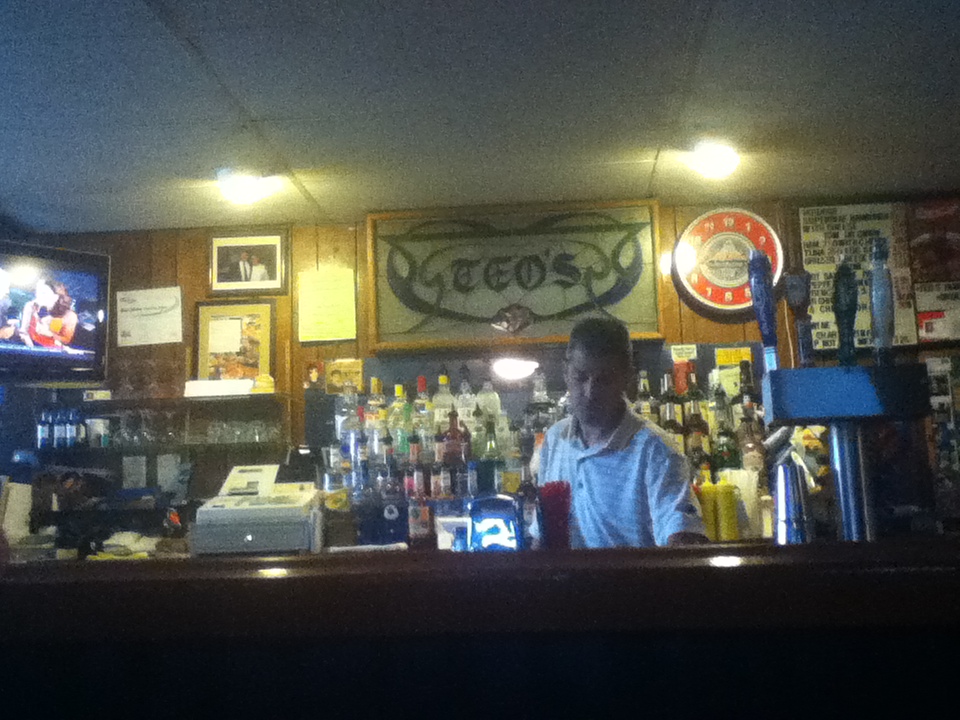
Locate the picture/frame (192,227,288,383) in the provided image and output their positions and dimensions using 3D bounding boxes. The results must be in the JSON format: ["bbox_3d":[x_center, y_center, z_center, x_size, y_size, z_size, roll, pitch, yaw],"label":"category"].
[{"bbox_3d":[-1.415,-0.311,5.038,0.525,0.913,0.208,-2,-5,12],"label":"picture/frame"}]

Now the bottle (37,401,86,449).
[{"bbox_3d":[-2.364,0.364,4.834,0.245,0.247,0.259,-9,-9,42],"label":"bottle"}]

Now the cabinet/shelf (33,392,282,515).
[{"bbox_3d":[-1.816,0.470,5.081,1.309,0.609,0.305,-1,15,-20],"label":"cabinet/shelf"}]

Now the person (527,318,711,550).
[{"bbox_3d":[0.572,0.294,3.492,0.379,0.941,1.005,2,-5,-25],"label":"person"}]

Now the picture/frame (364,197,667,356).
[{"bbox_3d":[0.201,-0.481,4.883,1.633,0.808,0.180,-2,-6,3],"label":"picture/frame"}]
